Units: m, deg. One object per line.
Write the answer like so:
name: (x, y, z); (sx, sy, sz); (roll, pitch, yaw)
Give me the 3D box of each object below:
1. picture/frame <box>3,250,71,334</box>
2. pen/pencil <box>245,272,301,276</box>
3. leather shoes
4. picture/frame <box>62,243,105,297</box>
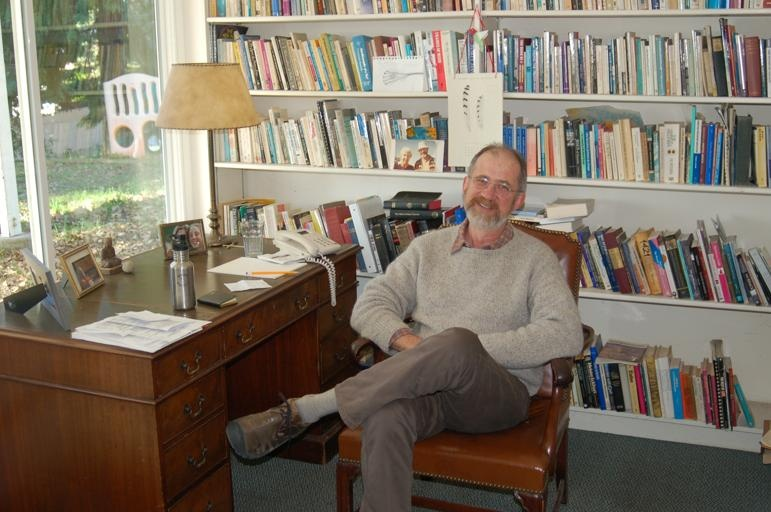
picture/frame: (-1.527, 0.157, 2.527); (0.136, 0.190, 0.261); (-29, 20, -23)
pen/pencil: (-0.560, 0.081, 2.833); (0.185, 0.017, 0.016); (1, -2, -12)
leather shoes: (-0.505, 0.732, 2.542); (0.337, 0.138, 0.202); (-21, 46, -39)
picture/frame: (-1.380, 0.069, 2.651); (0.038, 0.165, 0.192); (-9, 18, 17)
